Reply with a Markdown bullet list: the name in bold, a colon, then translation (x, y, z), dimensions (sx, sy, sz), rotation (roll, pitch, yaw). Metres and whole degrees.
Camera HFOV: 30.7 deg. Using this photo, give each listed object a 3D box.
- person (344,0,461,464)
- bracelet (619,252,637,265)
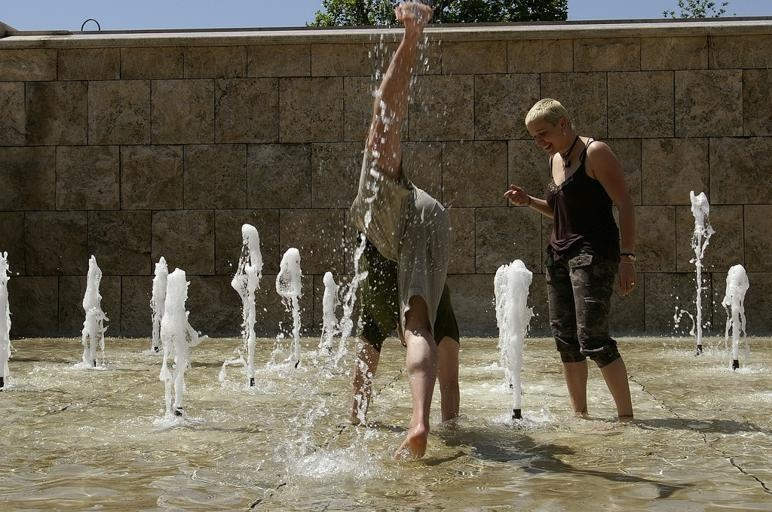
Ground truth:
- **person**: translation (0.119, -0.217, 13.106), dimensions (0.935, 4.123, 1.132), rotation (-1, -5, 7)
- **bracelet**: translation (2.387, 0.042, 13.855), dimensions (0.113, 0.120, 0.639), rotation (-2, -5, 13)
